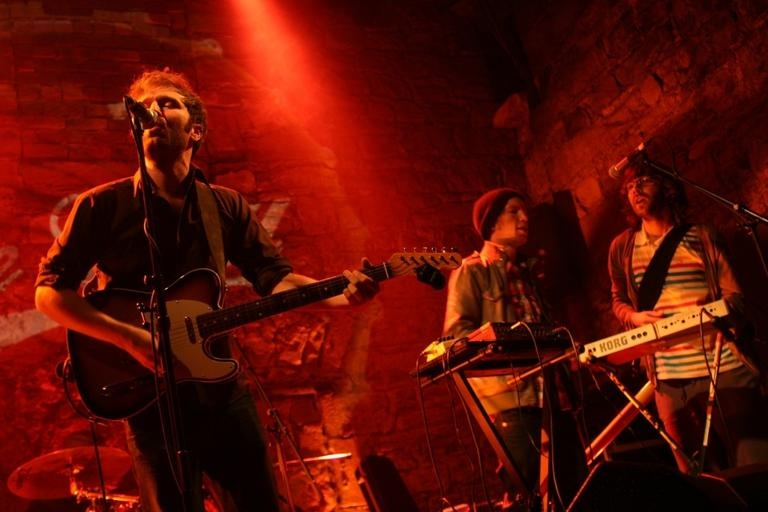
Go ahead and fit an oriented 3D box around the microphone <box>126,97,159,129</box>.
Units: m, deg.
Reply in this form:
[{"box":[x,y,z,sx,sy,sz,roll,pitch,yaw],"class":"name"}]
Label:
[{"box":[-1.349,-0.790,3.646,0.088,0.119,0.300,-4,-12,8],"class":"microphone"}]
